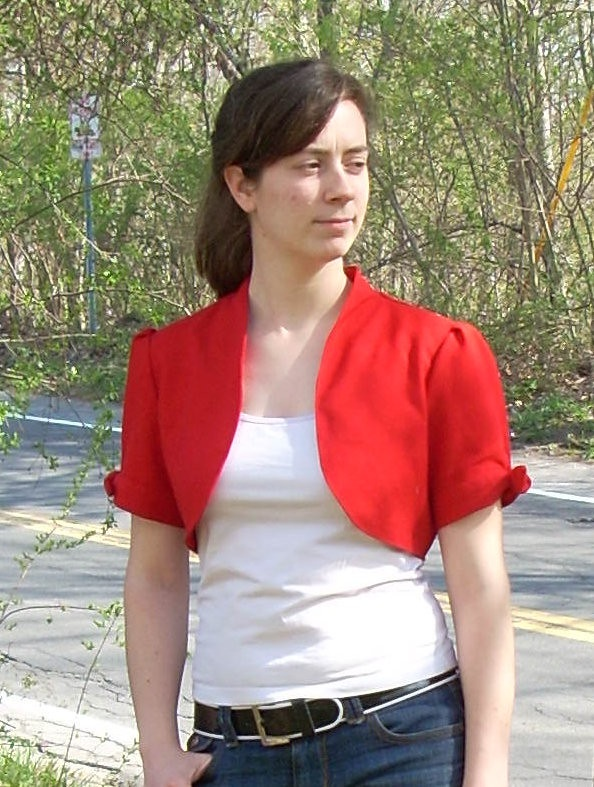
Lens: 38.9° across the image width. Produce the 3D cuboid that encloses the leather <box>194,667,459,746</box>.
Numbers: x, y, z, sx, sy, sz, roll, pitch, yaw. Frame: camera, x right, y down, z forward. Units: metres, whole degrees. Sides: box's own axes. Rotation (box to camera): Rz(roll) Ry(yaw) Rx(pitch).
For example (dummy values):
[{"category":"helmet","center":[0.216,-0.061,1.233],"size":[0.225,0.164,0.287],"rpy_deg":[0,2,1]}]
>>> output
[{"category":"leather","center":[0.000,0.450,1.177],"size":[0.214,0.036,0.171],"rpy_deg":[-12,-4,3]}]
